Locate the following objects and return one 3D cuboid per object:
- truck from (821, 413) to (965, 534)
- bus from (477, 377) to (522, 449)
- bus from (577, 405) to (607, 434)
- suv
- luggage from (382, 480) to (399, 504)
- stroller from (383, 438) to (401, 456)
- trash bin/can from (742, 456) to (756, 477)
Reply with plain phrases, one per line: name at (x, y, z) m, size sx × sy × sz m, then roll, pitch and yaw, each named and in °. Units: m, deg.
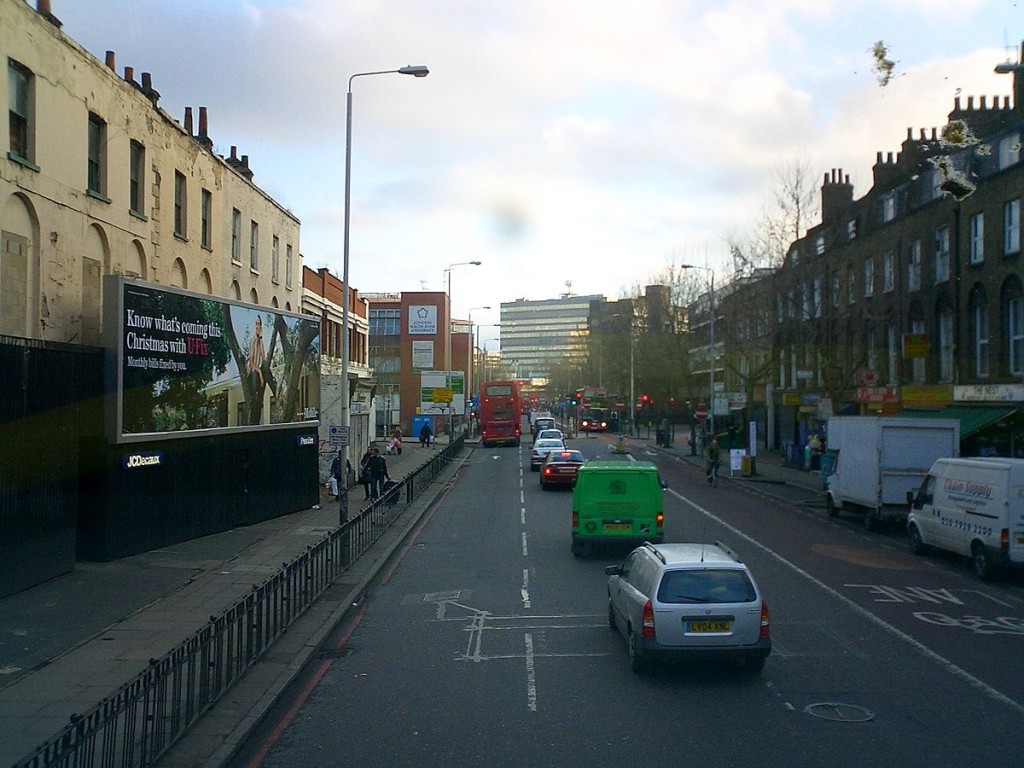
truck at (11.727, 2.496, 34.736) m, size 2.041 × 2.849 × 4.301 m, roll 0°, pitch 1°, yaw -5°
bus at (-0.809, 1.736, 73.095) m, size 2.351 × 4.101 × 4.050 m, roll -2°, pitch -3°, yaw -7°
bus at (7.325, 3.332, 99.676) m, size 1.434 × 1.824 × 2.803 m, roll 1°, pitch 3°, yaw -2°
suv at (3.287, 4.175, 21.526) m, size 1.615 × 1.533 × 2.987 m, roll 0°, pitch 1°, yaw -1°
luggage at (-3.900, 3.367, 35.143) m, size 0.223 × 0.856 × 0.590 m, roll -5°, pitch -21°, yaw 11°
stroller at (-7.167, 3.736, 66.436) m, size 0.556 × 0.689 × 1.871 m, roll 7°, pitch 10°, yaw 1°
trash bin/can at (11.074, 3.842, 52.503) m, size 0.658 × 1.569 × 0.791 m, roll -1°, pitch 0°, yaw 8°
